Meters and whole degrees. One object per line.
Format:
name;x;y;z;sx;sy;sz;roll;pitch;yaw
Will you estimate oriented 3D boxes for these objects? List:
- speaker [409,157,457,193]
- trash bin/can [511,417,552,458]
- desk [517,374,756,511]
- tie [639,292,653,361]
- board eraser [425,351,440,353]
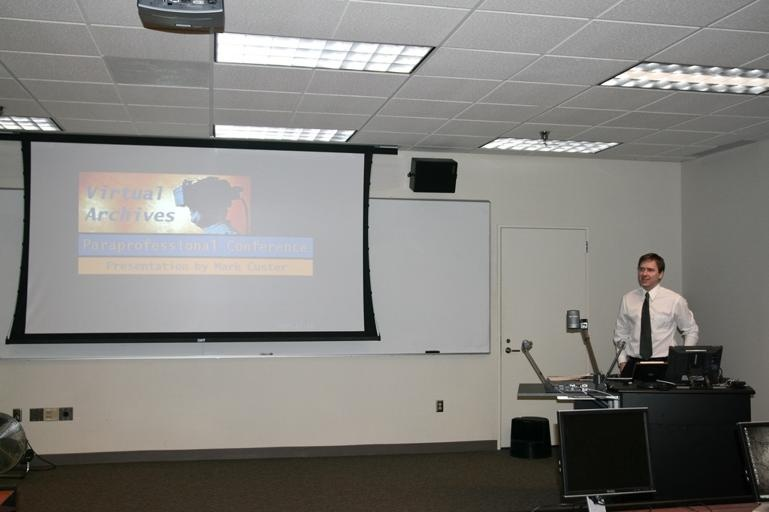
speaker;0.602;-1.017;7.544;0.818;0.535;0.405;1;7;-7
trash bin/can;1.845;2.325;7.386;0.581;0.480;0.364;-2;-3;13
desk;2.251;1.600;5.183;1.658;0.814;0.961;-2;0;-5
tie;2.711;0.702;5.966;0.112;0.627;0.245;3;5;21
board eraser;0.609;1.246;7.482;0.190;0.042;0.004;0;5;-7
